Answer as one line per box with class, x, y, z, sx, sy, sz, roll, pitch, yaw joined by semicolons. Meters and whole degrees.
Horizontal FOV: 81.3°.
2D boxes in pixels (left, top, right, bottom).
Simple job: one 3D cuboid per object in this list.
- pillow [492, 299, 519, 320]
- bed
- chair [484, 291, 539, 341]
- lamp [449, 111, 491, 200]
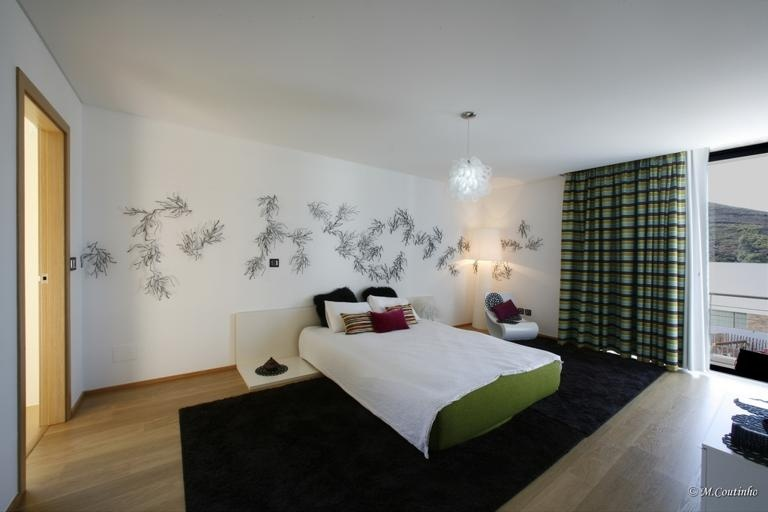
pillow;1.896;0.875;7.024;0.436;0.253;0.116;-9;-25;-29
bed;0.196;1.144;4.725;1.370;0.373;1.629;-3;6;-33
chair;1.937;0.955;7.018;0.577;0.612;0.773;-7;10;-15
lamp;1.031;-1.102;5.232;0.437;0.925;0.822;0;2;17
